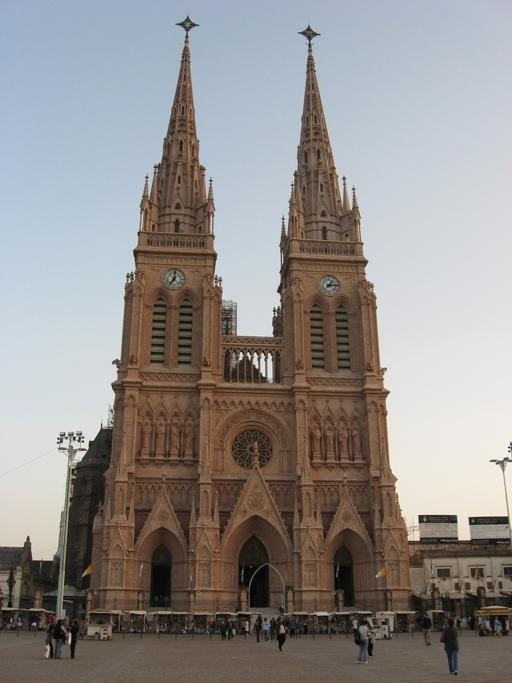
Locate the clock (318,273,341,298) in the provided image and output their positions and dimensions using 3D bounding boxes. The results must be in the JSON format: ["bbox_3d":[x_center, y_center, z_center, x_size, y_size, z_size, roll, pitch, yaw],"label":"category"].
[{"bbox_3d":[6.013,-4.639,55.826,1.910,1.814,0.123,-8,-11,-5],"label":"clock"}]

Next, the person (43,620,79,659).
[{"bbox_3d":[-6.132,9.338,21.030,0.927,1.148,2.482,3,-19,-15],"label":"person"}]
